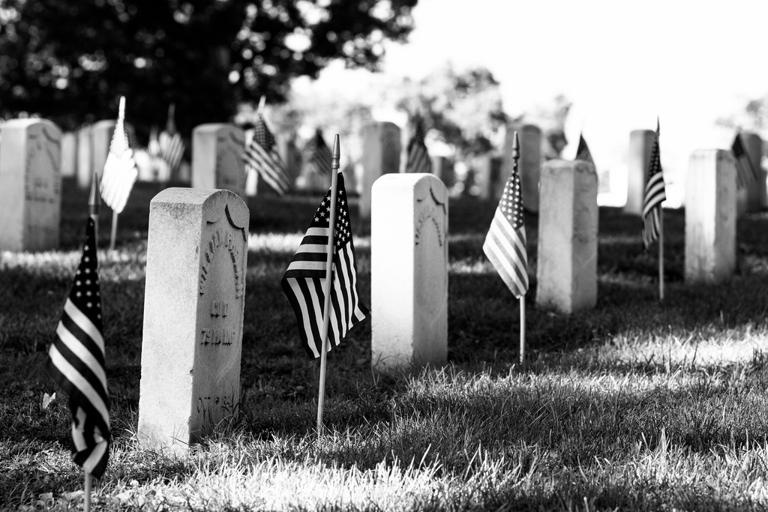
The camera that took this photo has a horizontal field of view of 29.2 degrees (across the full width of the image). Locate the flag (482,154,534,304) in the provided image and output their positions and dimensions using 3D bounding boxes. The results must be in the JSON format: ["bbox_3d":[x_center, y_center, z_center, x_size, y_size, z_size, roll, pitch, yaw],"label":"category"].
[{"bbox_3d":[1.709,-0.347,20.567,0.544,1.874,0.409,-1,-1,33],"label":"flag"}]

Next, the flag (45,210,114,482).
[{"bbox_3d":[-3.594,1.106,17.508,0.667,3.106,0.234,0,-1,-13],"label":"flag"}]

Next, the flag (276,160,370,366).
[{"bbox_3d":[-0.752,0.142,19.102,0.714,2.401,1.099,-1,-1,31],"label":"flag"}]

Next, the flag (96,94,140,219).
[{"bbox_3d":[-3.831,-1.421,21.373,0.529,1.530,1.538,0,-1,-11],"label":"flag"}]

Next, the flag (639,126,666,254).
[{"bbox_3d":[4.128,-1.017,22.523,0.331,1.838,0.790,-1,-1,11],"label":"flag"}]
